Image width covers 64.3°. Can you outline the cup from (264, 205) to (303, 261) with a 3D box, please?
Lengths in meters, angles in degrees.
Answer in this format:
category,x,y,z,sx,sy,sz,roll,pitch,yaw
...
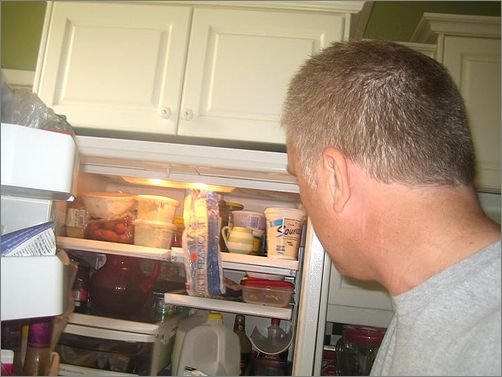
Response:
category,x,y,z,sx,sy,sz,roll,pitch,yaw
cup,0.111,0.175,1.435,0.161,0.171,0.159,4,-16,1

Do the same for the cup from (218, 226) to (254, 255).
category,x,y,z,sx,sy,sz,roll,pitch,yaw
cup,-0.048,0.191,1.462,0.135,0.096,0.102,6,-8,9

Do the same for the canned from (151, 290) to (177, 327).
category,x,y,z,sx,sy,sz,roll,pitch,yaw
canned,-0.339,0.457,1.562,0.064,0.094,0.056,3,1,-28

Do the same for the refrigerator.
category,x,y,z,sx,sy,sz,roll,pitch,yaw
refrigerator,-0.295,0.177,1.582,1.221,1.153,0.636,0,-5,6
